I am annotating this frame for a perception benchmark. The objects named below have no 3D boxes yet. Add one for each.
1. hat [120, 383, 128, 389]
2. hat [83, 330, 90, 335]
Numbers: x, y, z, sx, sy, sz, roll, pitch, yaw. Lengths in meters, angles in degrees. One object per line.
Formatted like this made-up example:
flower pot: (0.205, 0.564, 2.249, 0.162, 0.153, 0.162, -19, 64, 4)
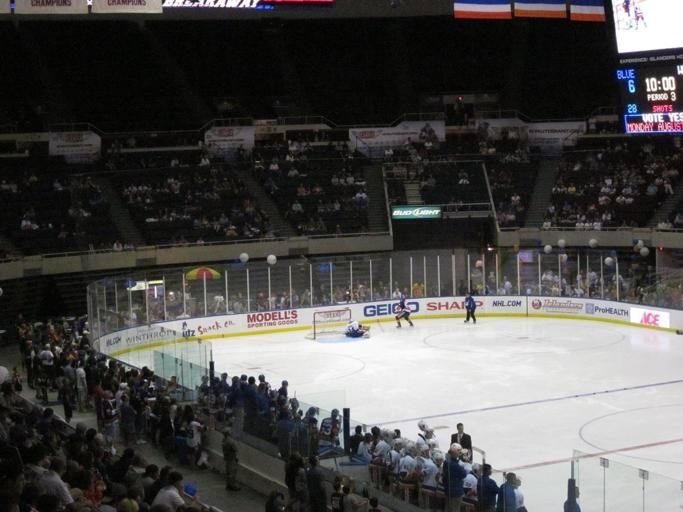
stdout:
hat: (-6.569, 3.888, 22.995, 0.161, 0.113, 0.218, 0, 2, -11)
hat: (-10.137, 3.003, 30.351, 0.277, 0.119, 0.340, 2, -1, 2)
